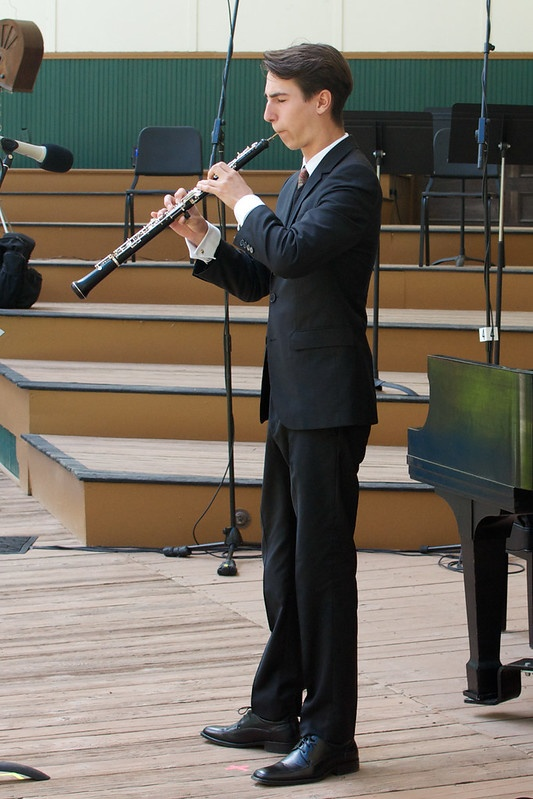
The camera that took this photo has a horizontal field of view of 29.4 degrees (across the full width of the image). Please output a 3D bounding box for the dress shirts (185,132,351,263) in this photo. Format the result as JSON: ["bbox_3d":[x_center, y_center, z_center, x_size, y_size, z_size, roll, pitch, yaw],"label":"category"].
[{"bbox_3d":[-0.001,-0.366,1.810,0.190,0.245,0.216,-12,17,-38],"label":"dress shirts"}]

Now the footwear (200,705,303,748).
[{"bbox_3d":[-0.024,0.608,1.883,0.230,0.096,0.095,1,3,-4],"label":"footwear"}]

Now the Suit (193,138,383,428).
[{"bbox_3d":[0.056,-0.164,1.804,0.280,0.550,0.297,7,14,6],"label":"Suit"}]
